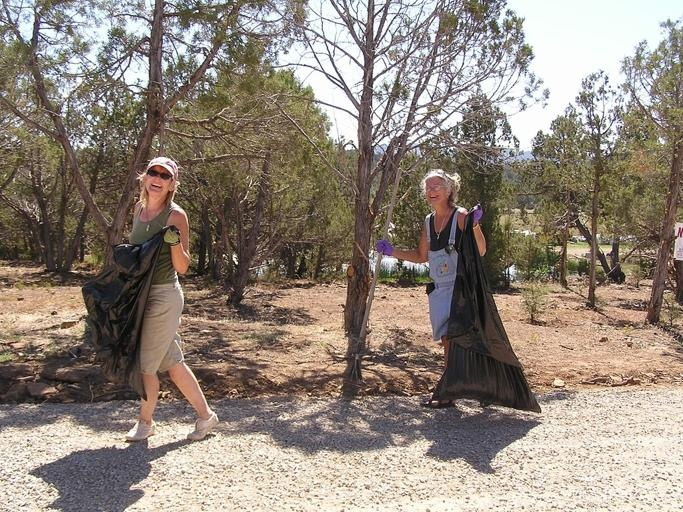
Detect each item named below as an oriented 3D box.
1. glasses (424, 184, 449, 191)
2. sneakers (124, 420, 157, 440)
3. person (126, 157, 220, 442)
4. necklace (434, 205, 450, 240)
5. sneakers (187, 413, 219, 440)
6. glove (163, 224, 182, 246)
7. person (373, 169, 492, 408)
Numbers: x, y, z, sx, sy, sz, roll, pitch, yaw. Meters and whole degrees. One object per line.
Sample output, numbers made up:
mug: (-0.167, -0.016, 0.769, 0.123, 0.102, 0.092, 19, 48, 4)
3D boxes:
glasses: (1.057, -0.755, 6.697, 0.234, 0.087, 0.075, 2, 12, 3)
sneakers: (-1.941, 1.689, 5.864, 0.118, 0.148, 0.315, 7, 3, 39)
person: (-1.715, 0.410, 5.868, 0.804, 2.657, 0.919, -5, 13, -29)
necklace: (1.126, -0.354, 6.749, 0.160, 0.298, 0.149, 7, -1, 40)
sneakers: (-1.328, 1.661, 5.956, 0.135, 0.160, 0.381, -6, 23, 38)
glove: (-1.574, -0.198, 5.601, 0.139, 0.184, 0.081, -21, -11, 4)
person: (1.052, 0.070, 6.899, 0.510, 2.079, 1.082, -6, 14, -32)
